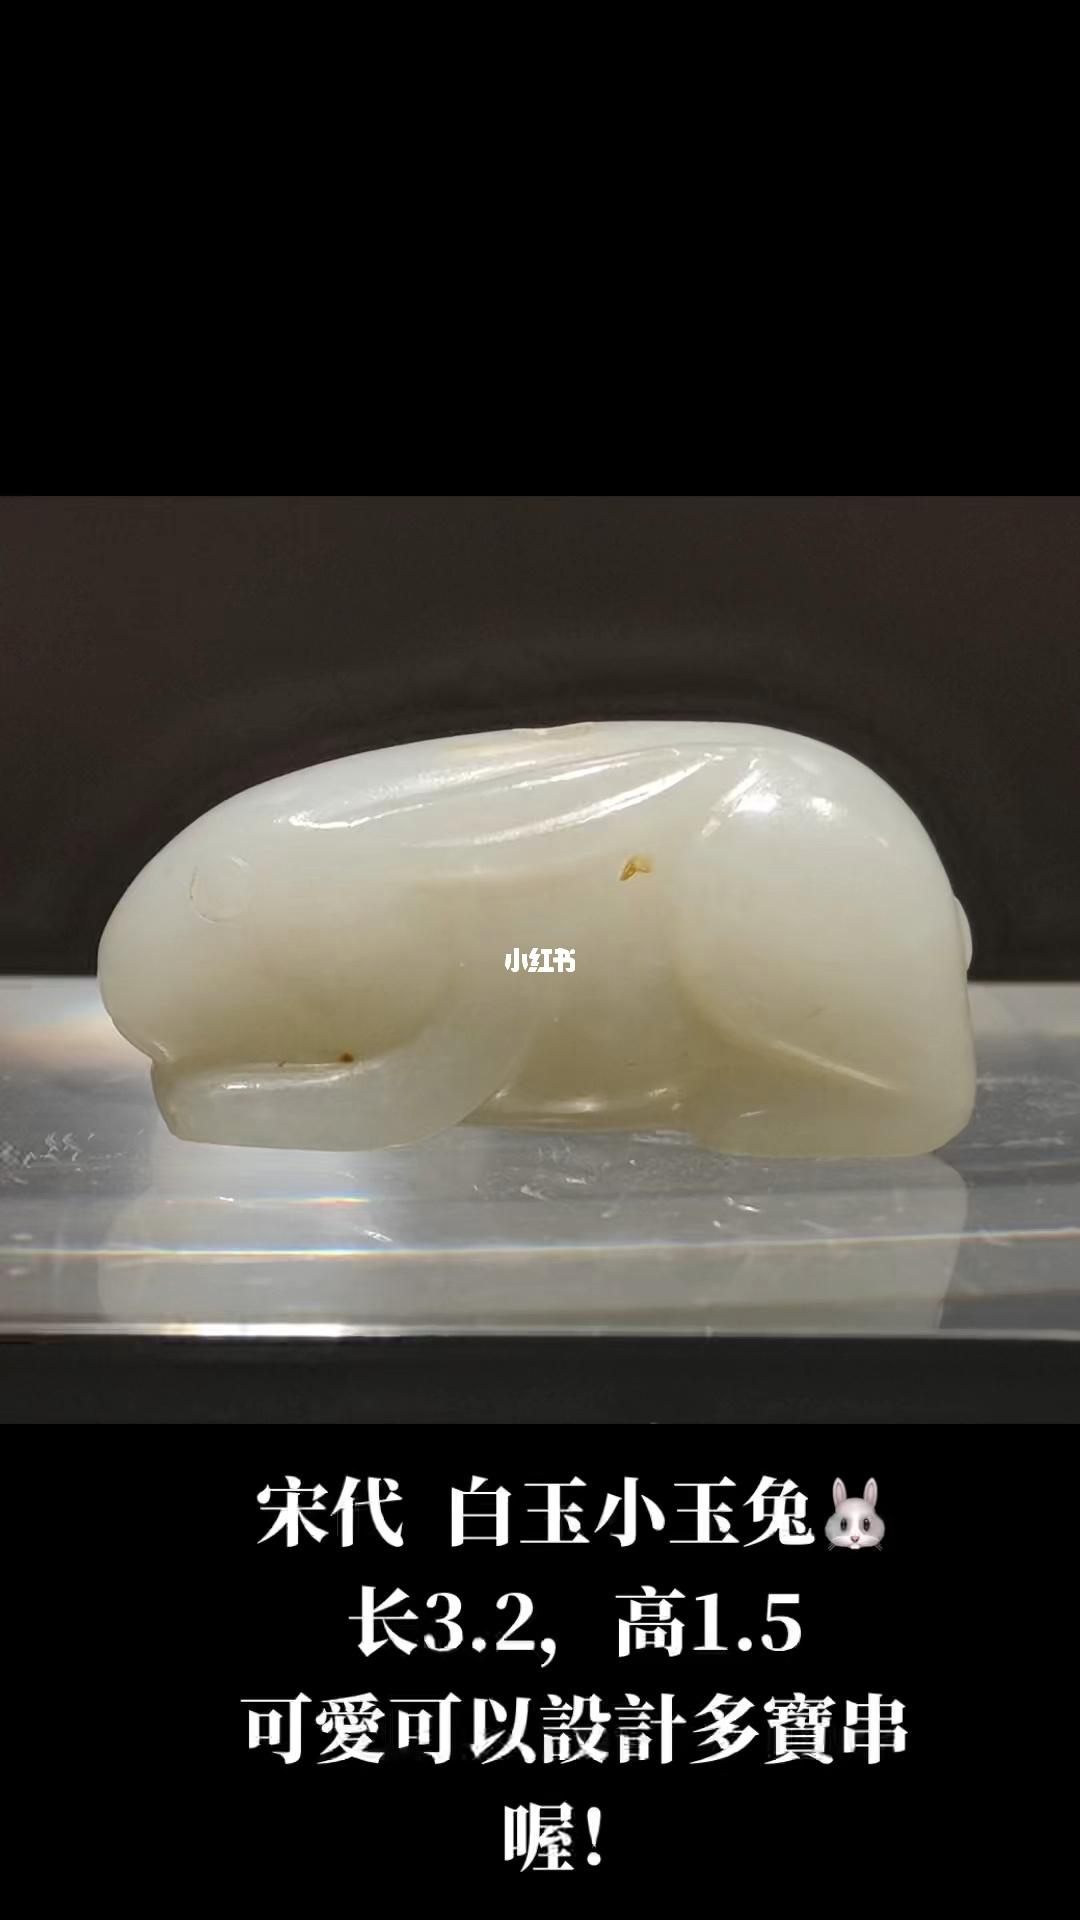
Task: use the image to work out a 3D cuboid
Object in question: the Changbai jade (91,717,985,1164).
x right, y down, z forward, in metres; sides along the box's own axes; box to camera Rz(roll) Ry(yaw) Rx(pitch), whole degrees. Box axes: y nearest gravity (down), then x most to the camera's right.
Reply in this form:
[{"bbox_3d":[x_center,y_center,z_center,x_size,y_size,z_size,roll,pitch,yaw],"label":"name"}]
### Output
[{"bbox_3d":[0.002,-0.008,1.118,0.428,0.171,0.233,0,1,1],"label":"Changbai jade"}]
